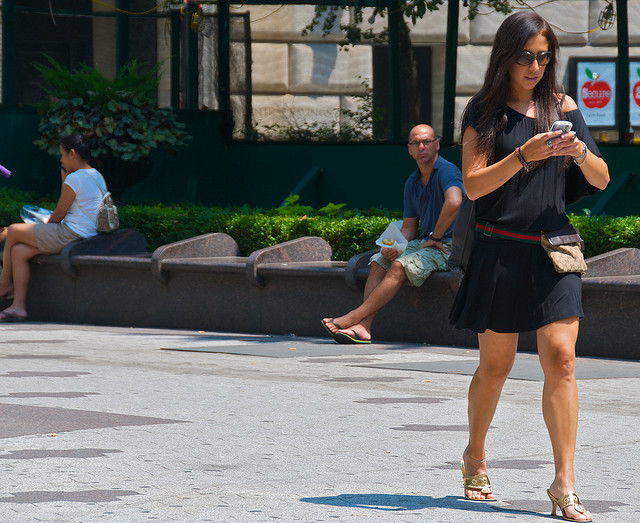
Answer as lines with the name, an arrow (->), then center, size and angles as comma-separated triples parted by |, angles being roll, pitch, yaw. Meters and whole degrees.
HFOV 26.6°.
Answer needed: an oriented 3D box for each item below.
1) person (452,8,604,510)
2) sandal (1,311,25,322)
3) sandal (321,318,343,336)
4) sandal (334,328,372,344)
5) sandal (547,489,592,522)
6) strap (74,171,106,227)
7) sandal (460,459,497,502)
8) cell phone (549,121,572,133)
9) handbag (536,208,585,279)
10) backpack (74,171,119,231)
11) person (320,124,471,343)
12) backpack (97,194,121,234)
person -> 1.062, -0.020, 6.903 | 0.740, 2.511, 0.649 | 1, 6, 11
sandal -> -2.986, 0.538, 13.272 | 0.241, 0.076, 0.085 | 6, 0, -13
sandal -> 0.099, 0.561, 11.440 | 0.053, 0.201, 0.094 | -41, -9, 24
sandal -> 0.290, 0.639, 11.464 | 0.306, 0.084, 0.117 | 13, -12, -19
sandal -> 1.226, 1.207, 6.698 | 0.097, 0.106, 0.254 | 0, 2, -37
strap -> -2.278, -0.634, 13.517 | 0.102, 0.550, 0.362 | 5, 9, 44
sandal -> 0.828, 1.136, 7.049 | 0.180, 0.186, 0.160 | 0, 6, 4
cell phone -> 1.209, -0.681, 6.808 | 0.105, 0.056, 0.129 | 1, 6, 9
handbag -> 1.232, -0.091, 6.925 | 0.118, 0.337, 0.258 | -26, -4, 30
backpack -> -2.212, -0.605, 13.664 | 0.400, 0.632, 0.337 | -4, 6, 13
person -> 0.704, -0.235, 11.536 | 1.001, 1.843, 0.784 | 0, 6, 5
backpack -> -2.171, -0.518, 13.630 | 0.237, 0.420, 0.330 | 2, 10, 17
